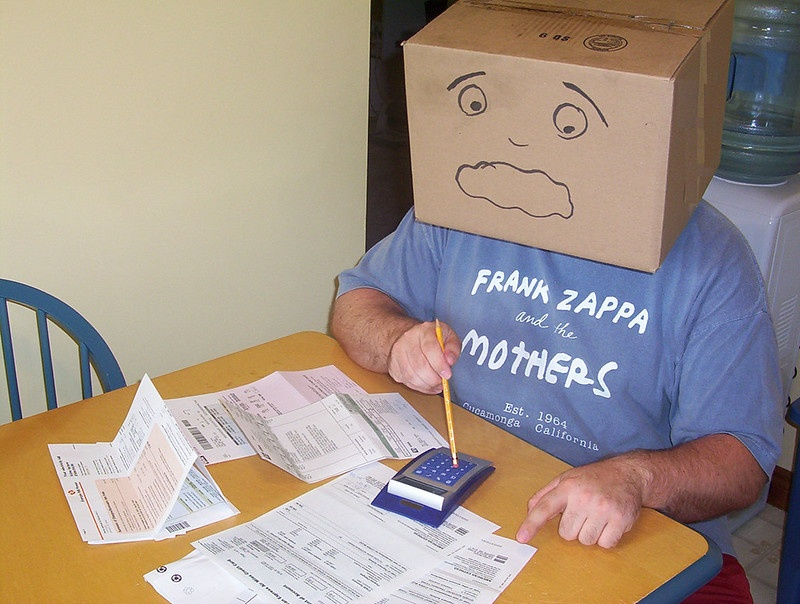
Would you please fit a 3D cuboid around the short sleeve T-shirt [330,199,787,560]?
[{"bbox_3d":[0.272,0.142,1.217,0.571,0.539,0.380,33,62,34],"label":"short sleeve T-shirt"}]

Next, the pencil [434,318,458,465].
[{"bbox_3d":[0.079,0.133,1.199,0.018,0.304,0.023,-21,-27,40],"label":"pencil"}]

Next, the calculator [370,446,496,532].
[{"bbox_3d":[0.063,0.294,1.107,0.123,0.039,0.197,12,24,36],"label":"calculator"}]
